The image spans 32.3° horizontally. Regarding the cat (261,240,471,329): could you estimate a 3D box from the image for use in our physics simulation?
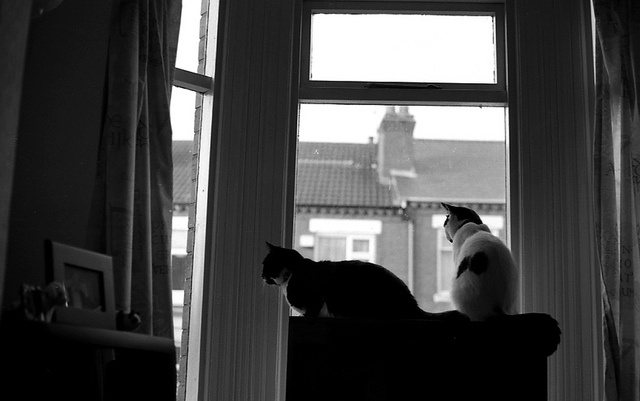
[{"bbox_3d":[0.252,0.391,4.912,1.095,0.468,0.304,2,-13,11],"label":"cat"}]

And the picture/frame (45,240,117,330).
[{"bbox_3d":[-0.948,0.361,4.422,0.033,0.324,0.291,-29,-32,33],"label":"picture/frame"}]
